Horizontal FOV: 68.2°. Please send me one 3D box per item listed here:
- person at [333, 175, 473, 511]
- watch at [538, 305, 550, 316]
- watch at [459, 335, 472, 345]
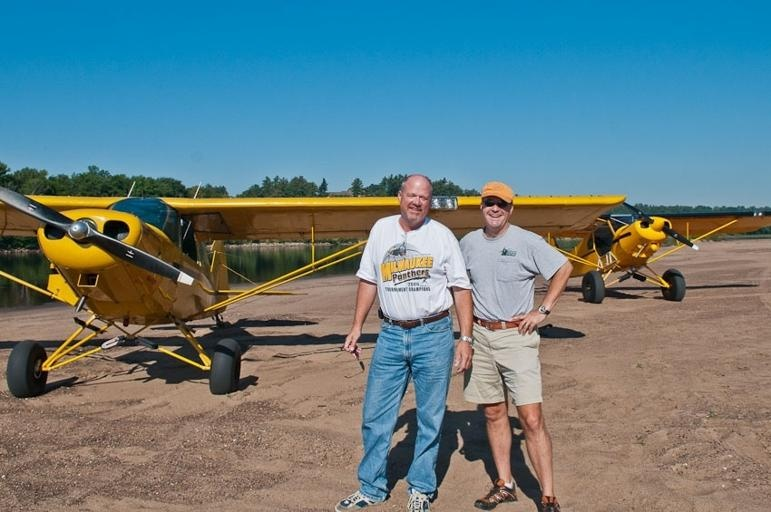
[{"bbox_3d":[0.171,0.752,4.938,1.162,2.870,0.589,-2,3,6],"label":"person"},{"bbox_3d":[1.378,0.472,4.941,0.095,0.082,0.084,-1,2,13],"label":"watch"},{"bbox_3d":[0.690,0.715,4.906,0.113,0.054,0.095,21,-24,-13],"label":"watch"}]
